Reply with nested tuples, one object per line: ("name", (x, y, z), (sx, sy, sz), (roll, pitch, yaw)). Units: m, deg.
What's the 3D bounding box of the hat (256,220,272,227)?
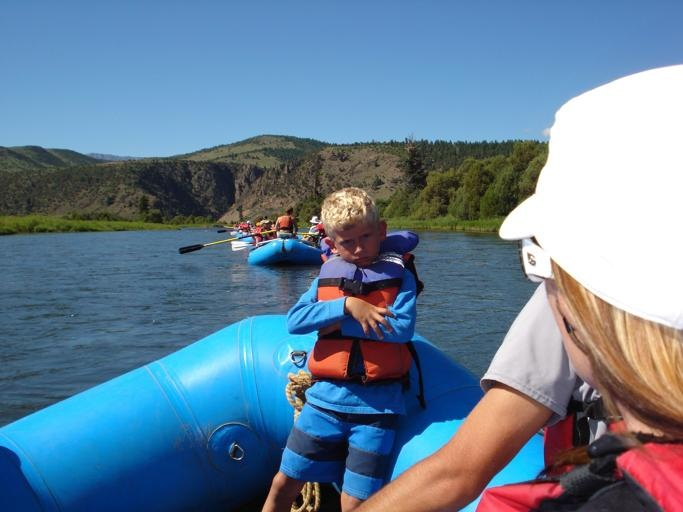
("hat", (-3.495, -1.411, 24.953), (0.596, 0.240, 0.433), (-8, 4, 20))
